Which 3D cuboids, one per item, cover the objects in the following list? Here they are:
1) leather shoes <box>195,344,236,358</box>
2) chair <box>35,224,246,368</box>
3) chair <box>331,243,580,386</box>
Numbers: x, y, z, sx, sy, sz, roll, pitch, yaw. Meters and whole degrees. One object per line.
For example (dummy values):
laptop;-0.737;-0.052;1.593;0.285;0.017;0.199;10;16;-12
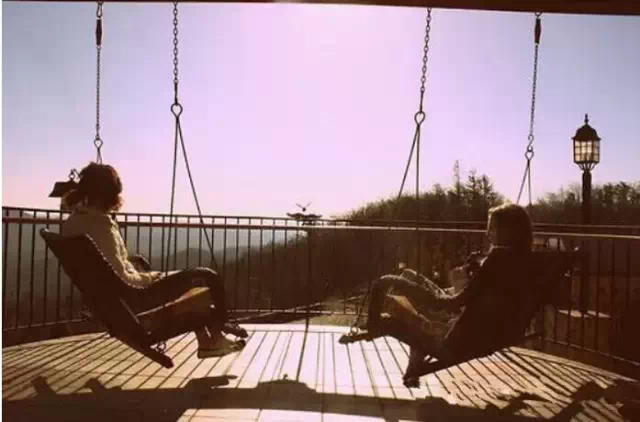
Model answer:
leather shoes;-1.438;1.912;7.446;0.545;0.220;0.222;-1;-5;-7
chair;-2.265;1.293;7.752;2.287;1.629;2.037;-7;-6;-13
chair;1.427;1.437;7.956;2.720;1.386;2.462;-4;-6;-8
